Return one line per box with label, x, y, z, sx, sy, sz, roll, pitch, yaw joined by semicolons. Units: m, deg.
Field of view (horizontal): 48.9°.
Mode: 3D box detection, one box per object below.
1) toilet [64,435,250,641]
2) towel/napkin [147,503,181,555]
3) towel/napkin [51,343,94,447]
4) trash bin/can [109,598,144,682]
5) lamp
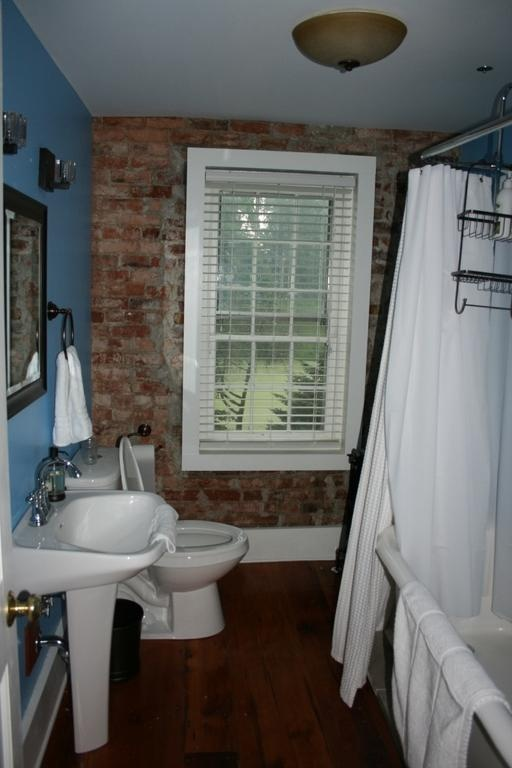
toilet;-0.313;0.678;2.564;0.878;1.011;0.564;-1;7;-8
towel/napkin;-0.279;0.437;1.703;0.060;0.090;0.212;3;-2;-2
towel/napkin;-0.649;0.036;1.934;0.136;0.331;0.188;-2;6;-37
trash bin/can;-0.486;0.971;2.101;0.113;0.243;0.245;0;5;-12
lamp;0.231;-0.859;1.408;0.164;0.065;0.171;8;15;29
